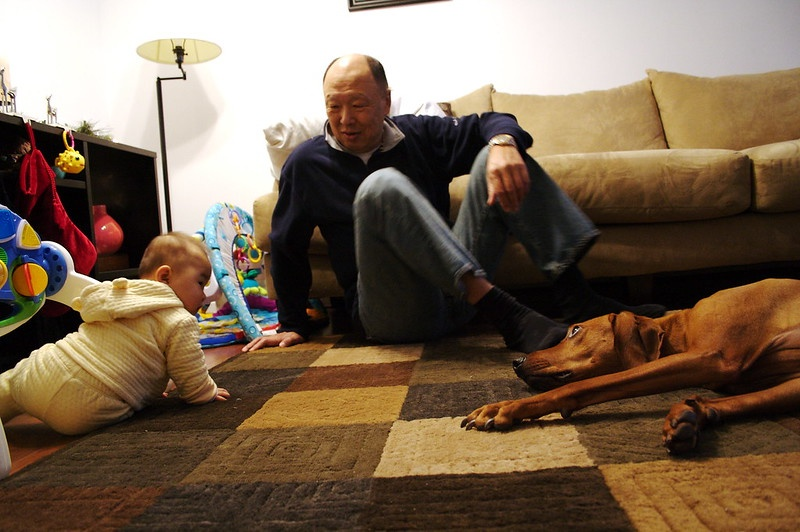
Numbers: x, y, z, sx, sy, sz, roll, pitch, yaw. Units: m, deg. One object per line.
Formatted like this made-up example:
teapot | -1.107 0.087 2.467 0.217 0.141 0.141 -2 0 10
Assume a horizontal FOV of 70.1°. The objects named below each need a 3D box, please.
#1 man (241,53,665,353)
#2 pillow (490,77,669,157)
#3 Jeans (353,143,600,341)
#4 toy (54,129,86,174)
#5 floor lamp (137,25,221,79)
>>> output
man | 0.050 -0.238 1.988 1.385 0.925 0.730 -4 11 38
pillow | 0.996 -0.756 2.998 1.111 0.427 0.404 -1 31 7
Jeans | 0.158 -0.064 1.935 0.535 0.457 0.764 -22 21 -33
toy | -1.436 -0.495 2.488 0.108 0.161 0.103 -8 7 -9
floor lamp | -1.237 -1.175 3.225 0.334 0.194 0.298 -1 9 30
